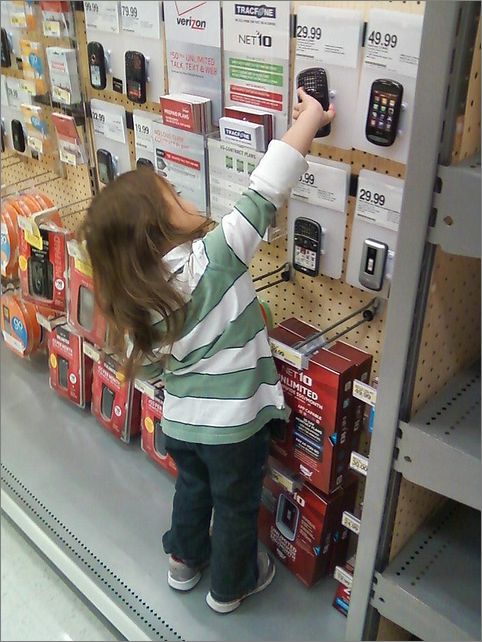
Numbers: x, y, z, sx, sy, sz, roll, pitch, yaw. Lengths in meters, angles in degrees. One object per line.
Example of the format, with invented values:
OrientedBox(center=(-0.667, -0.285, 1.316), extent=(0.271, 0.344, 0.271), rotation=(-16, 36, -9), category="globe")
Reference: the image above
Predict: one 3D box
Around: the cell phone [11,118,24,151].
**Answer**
OrientedBox(center=(-1.092, -0.905, 2.253), extent=(0.023, 0.157, 0.075), rotation=(-16, 38, -32), category="cell phone")

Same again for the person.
OrientedBox(center=(-0.105, 0.178, 1.239), extent=(0.586, 1.449, 0.335), rotation=(7, 21, 13), category="person")

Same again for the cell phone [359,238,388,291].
OrientedBox(center=(0.322, -0.138, 1.133), extent=(0.060, 0.135, 0.015), rotation=(23, 46, 28), category="cell phone")

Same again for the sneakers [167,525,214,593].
OrientedBox(center=(-0.157, 0.780, 1.546), extent=(0.078, 0.132, 0.237), rotation=(2, 8, 23), category="sneakers")

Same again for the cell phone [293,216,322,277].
OrientedBox(center=(0.183, -0.207, 1.290), extent=(0.081, 0.183, 0.023), rotation=(23, 51, 24), category="cell phone")

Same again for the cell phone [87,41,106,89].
OrientedBox(center=(-0.535, -0.928, 1.694), extent=(0.056, 0.150, 0.022), rotation=(9, 32, 7), category="cell phone")

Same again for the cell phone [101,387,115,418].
OrientedBox(center=(-0.574, 0.351, 1.989), extent=(0.014, 0.189, 0.075), rotation=(-8, 16, -38), category="cell phone")

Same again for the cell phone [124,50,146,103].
OrientedBox(center=(-0.363, -0.820, 1.568), extent=(0.069, 0.187, 0.016), rotation=(1, -10, -25), category="cell phone")

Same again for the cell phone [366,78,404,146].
OrientedBox(center=(0.299, -0.434, 0.963), extent=(0.066, 0.147, 0.024), rotation=(24, 66, 20), category="cell phone")
